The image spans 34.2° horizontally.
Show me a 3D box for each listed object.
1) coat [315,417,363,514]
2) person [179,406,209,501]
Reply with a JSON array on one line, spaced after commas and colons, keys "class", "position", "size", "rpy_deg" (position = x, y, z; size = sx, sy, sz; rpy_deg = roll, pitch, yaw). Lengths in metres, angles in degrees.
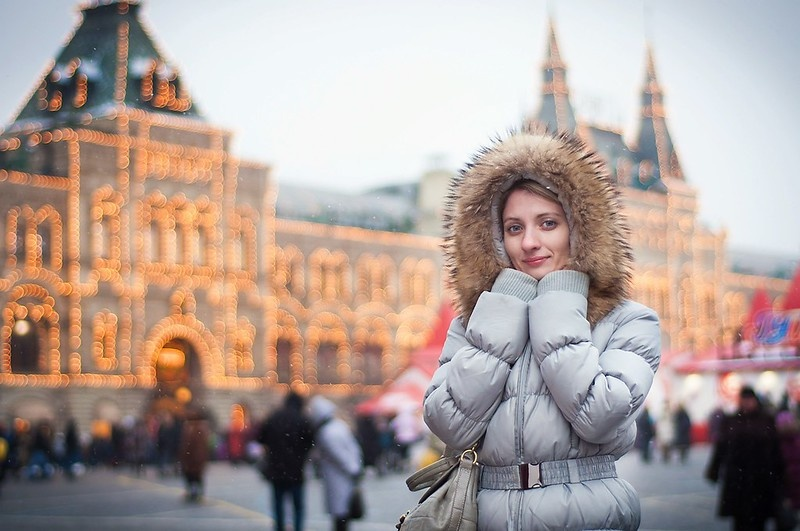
[{"class": "coat", "position": [-0.728, 2.428, 15.693], "size": [0.541, 1.186, 0.655], "rpy_deg": [1, -9, -1]}, {"class": "person", "position": [-2.298, 2.139, 14.689], "size": [0.313, 1.051, 0.836], "rpy_deg": [3, -9, -9]}]
